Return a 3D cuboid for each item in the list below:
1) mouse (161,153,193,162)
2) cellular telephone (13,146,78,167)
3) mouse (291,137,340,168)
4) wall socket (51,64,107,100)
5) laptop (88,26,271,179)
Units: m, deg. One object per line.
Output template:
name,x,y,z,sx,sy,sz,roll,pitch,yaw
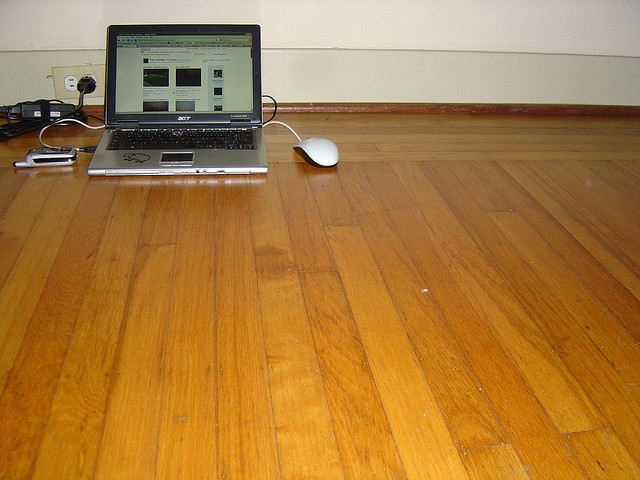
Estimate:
mouse,-0.409,-0.234,1.329,0.054,0.012,0.035,-3,31,-4
cellular telephone,-0.800,-0.233,1.342,0.131,0.037,0.074,-1,26,-14
mouse,-0.022,-0.265,1.418,0.154,0.082,0.077,13,21,35
wall socket,-0.865,-0.559,1.676,0.208,0.142,0.042,3,10,3
laptop,-0.394,-0.408,1.304,0.478,0.316,0.413,3,32,-2
